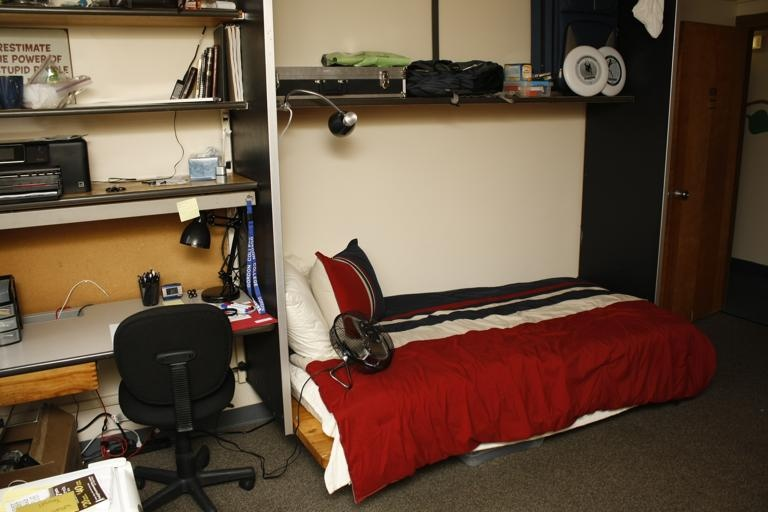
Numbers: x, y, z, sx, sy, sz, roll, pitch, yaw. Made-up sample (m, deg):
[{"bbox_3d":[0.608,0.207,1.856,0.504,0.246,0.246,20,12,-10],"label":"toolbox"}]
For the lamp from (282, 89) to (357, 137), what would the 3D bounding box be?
[{"bbox_3d":[-0.417,-0.924,3.493,0.463,0.275,0.205,7,-23,-17],"label":"lamp"}]

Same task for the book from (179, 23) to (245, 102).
[{"bbox_3d":[-0.960,-1.106,3.242,0.338,0.476,0.139,2,6,1],"label":"book"}]

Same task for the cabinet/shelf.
[{"bbox_3d":[-1.489,-0.836,3.159,1.145,0.827,0.402,-9,20,-28],"label":"cabinet/shelf"}]

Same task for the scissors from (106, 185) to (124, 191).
[{"bbox_3d":[-1.510,-0.377,3.086,0.094,0.032,0.068,4,11,30],"label":"scissors"}]

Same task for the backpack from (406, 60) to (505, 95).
[{"bbox_3d":[0.495,-1.210,3.753,0.750,0.255,0.183,-12,17,-23],"label":"backpack"}]

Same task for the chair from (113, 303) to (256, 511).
[{"bbox_3d":[-1.128,0.816,3.031,0.682,1.211,0.394,-8,16,-12],"label":"chair"}]

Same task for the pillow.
[{"bbox_3d":[-0.383,0.279,3.440,0.180,0.622,0.624,-16,-12,26],"label":"pillow"}]
